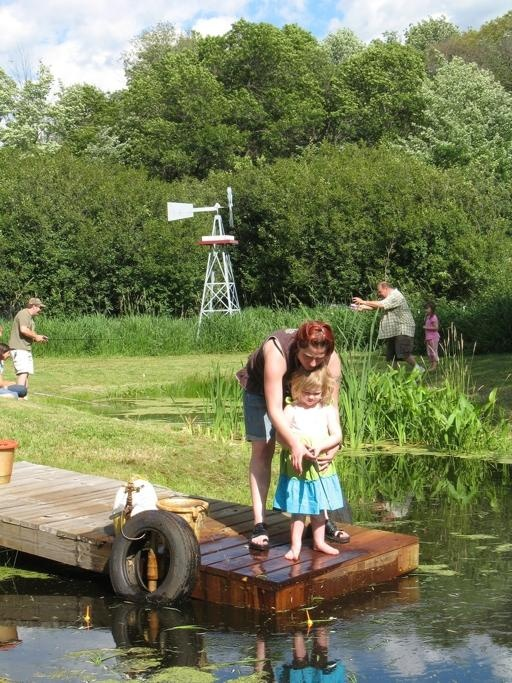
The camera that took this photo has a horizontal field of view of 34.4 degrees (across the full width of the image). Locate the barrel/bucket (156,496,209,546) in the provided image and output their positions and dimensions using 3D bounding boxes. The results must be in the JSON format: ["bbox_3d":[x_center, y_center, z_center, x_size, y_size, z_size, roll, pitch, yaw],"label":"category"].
[{"bbox_3d":[-0.397,0.965,4.499,0.248,0.167,0.234,0,4,0],"label":"barrel/bucket"}]

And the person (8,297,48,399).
[{"bbox_3d":[-3.732,0.106,13.524,0.873,1.589,0.584,0,0,17],"label":"person"}]

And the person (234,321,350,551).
[{"bbox_3d":[0.094,0.504,4.279,0.626,1.154,0.591,-3,7,-32],"label":"person"}]

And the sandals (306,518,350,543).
[{"bbox_3d":[0.423,1.070,4.642,0.277,0.103,0.103,0,3,44],"label":"sandals"}]
